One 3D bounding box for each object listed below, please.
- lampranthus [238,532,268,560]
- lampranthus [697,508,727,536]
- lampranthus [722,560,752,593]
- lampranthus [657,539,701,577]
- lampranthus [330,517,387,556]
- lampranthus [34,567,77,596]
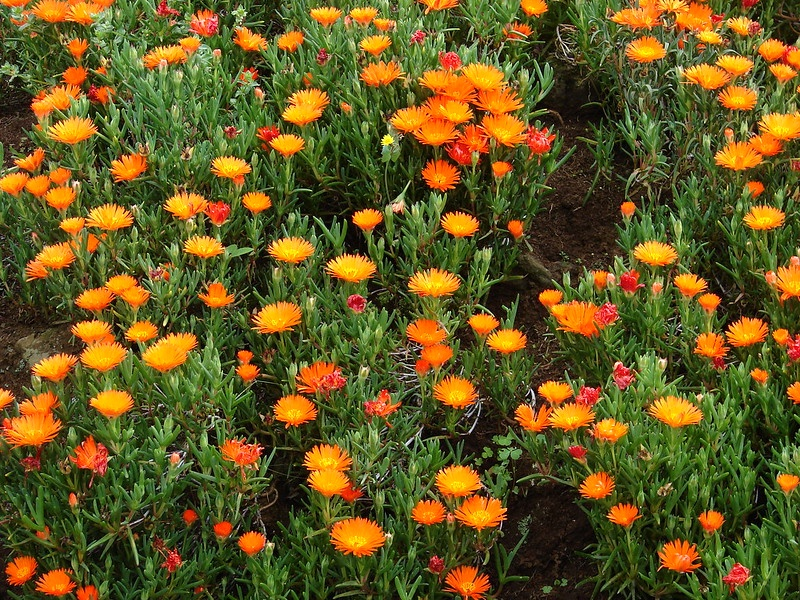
[{"bbox_3d":[-0.450,0.753,2.416,0.072,0.037,0.083,18,62,11],"label":"lampranthus"},{"bbox_3d":[0.937,0.654,2.379,0.063,0.069,0.069,23,99,1],"label":"lampranthus"},{"bbox_3d":[0.950,0.772,2.237,0.079,0.102,0.036,13,38,-7],"label":"lampranthus"},{"bbox_3d":[0.823,0.752,2.298,0.105,0.049,0.108,-26,33,-20],"label":"lampranthus"},{"bbox_3d":[-0.123,0.706,2.350,0.119,0.057,0.126,3,21,-20],"label":"lampranthus"},{"bbox_3d":[-1.032,0.835,2.337,0.094,0.095,0.050,37,104,34],"label":"lampranthus"}]
